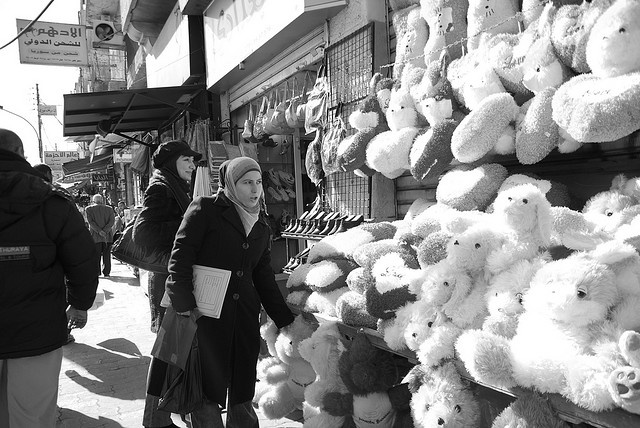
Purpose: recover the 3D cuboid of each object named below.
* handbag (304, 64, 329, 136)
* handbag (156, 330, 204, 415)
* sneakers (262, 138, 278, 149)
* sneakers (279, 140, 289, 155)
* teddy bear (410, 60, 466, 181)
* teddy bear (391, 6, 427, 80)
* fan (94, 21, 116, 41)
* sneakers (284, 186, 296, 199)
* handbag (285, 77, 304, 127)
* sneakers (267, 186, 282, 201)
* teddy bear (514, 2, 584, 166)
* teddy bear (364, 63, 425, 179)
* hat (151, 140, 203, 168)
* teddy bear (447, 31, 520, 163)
[{"bbox_3d":[-0.025,-1.169,4.956,0.200,0.619,0.140,6,2,23],"label":"handbag"},{"bbox_3d":[-0.885,1.061,3.195,0.258,0.245,0.545,16,42,-23],"label":"handbag"},{"bbox_3d":[-0.779,-1.110,7.708,0.236,0.122,0.534,1,4,-5],"label":"sneakers"},{"bbox_3d":[-0.547,-1.067,7.902,0.131,0.223,0.294,0,4,-17],"label":"sneakers"},{"bbox_3d":[0.760,-0.637,3.303,0.302,0.737,0.442,15,-18,-19],"label":"teddy bear"},{"bbox_3d":[0.740,-1.324,3.770,0.178,0.515,0.341,2,0,-27],"label":"teddy bear"},{"bbox_3d":[-5.767,-4.884,13.221,0.484,0.506,0.114,13,3,-11],"label":"fan"},{"bbox_3d":[-0.463,-0.325,7.705,0.263,0.089,0.106,40,-11,38],"label":"sneakers"},{"bbox_3d":[-0.279,-1.221,5.464,0.183,0.559,0.256,5,10,16],"label":"handbag"},{"bbox_3d":[-0.711,-0.323,7.712,0.301,0.120,0.075,47,27,19],"label":"sneakers"},{"bbox_3d":[1.229,-0.714,2.787,0.284,0.745,0.540,-4,7,5],"label":"teddy bear"},{"bbox_3d":[0.545,-0.613,3.518,0.435,0.677,0.670,-1,-15,-7],"label":"teddy bear"},{"bbox_3d":[-1.131,-0.463,3.834,0.288,0.155,0.201,-19,7,-17],"label":"hat"},{"bbox_3d":[0.973,-0.691,2.988,0.253,0.676,0.494,-5,-7,5],"label":"teddy bear"}]
